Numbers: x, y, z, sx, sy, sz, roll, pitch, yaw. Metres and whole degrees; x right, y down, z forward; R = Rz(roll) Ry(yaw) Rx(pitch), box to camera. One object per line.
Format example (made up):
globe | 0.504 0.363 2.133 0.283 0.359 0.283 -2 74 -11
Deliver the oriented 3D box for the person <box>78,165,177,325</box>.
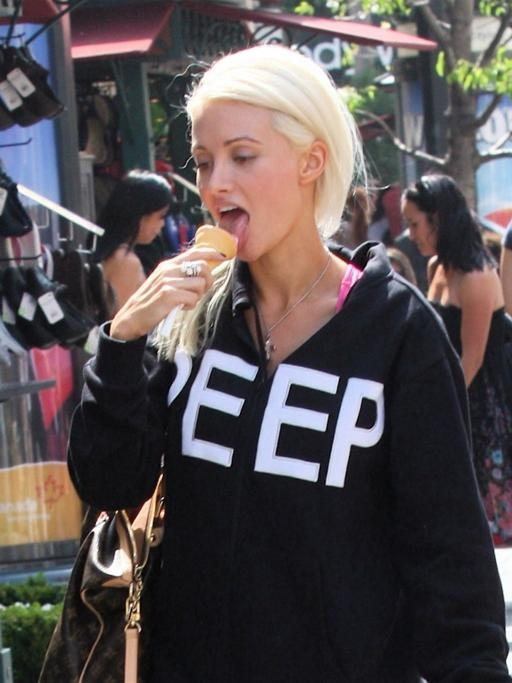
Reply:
person | -0.653 -0.492 4.951 0.348 0.745 0.339 -10 13 -39
